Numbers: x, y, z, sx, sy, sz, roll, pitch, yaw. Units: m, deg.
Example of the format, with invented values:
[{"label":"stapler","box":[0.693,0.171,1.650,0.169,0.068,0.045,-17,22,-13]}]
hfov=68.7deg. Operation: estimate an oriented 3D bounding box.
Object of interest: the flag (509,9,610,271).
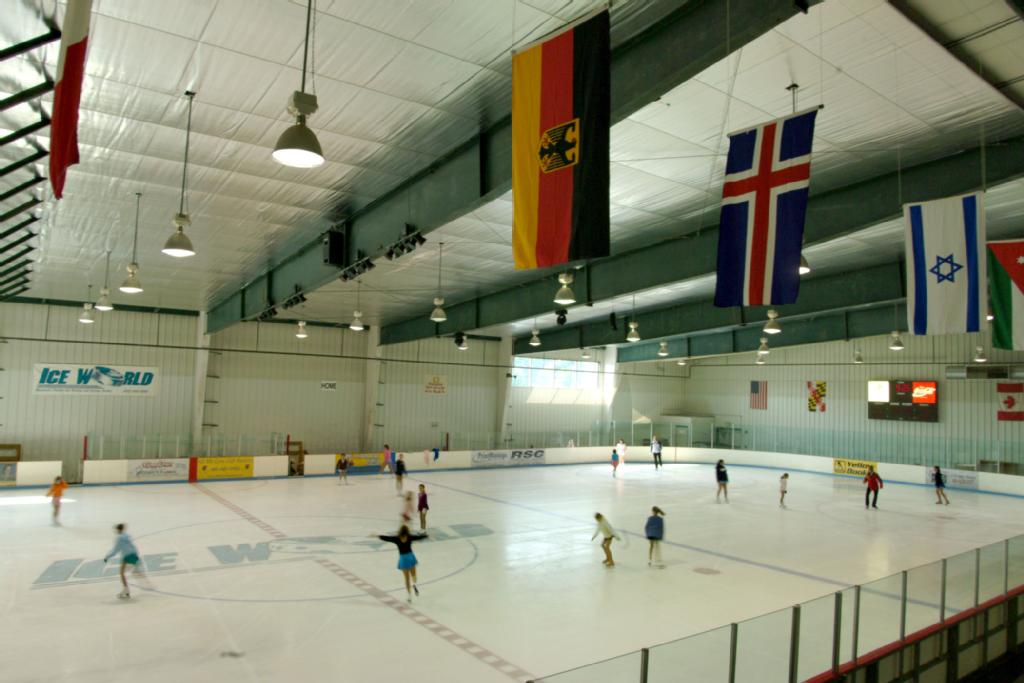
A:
[{"label":"flag","box":[0.892,-3.669,13.737,1.947,4.310,0.457,-5,-7,27]}]
